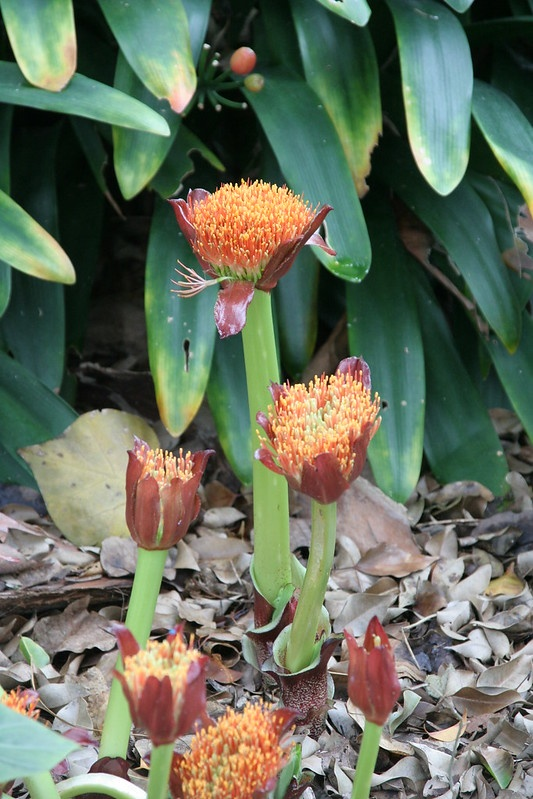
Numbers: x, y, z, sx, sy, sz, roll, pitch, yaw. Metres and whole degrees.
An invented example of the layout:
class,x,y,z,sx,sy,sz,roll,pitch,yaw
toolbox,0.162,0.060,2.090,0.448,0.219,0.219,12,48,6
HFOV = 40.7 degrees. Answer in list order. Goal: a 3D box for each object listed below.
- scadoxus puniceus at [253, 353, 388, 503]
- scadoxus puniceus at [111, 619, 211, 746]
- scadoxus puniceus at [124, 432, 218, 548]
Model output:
class,x,y,z,sx,sy,sz,roll,pitch,yaw
scadoxus puniceus,0.050,0.046,0.631,0.109,0.098,0.129,6,35,27
scadoxus puniceus,-0.050,0.166,0.433,0.061,0.067,0.078,4,55,-5
scadoxus puniceus,-0.087,0.082,0.617,0.058,0.096,0.078,13,13,11
